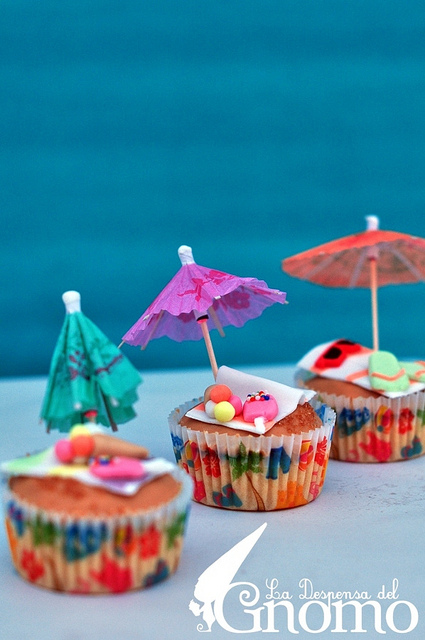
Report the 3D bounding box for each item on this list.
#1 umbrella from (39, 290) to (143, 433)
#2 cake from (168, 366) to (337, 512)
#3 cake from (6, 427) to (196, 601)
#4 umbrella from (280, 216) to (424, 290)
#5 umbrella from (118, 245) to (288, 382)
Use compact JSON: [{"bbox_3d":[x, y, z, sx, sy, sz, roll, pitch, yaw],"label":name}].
[{"bbox_3d":[-0.595,0.244,3.672,0.530,0.688,0.482,22,29,35],"label":"umbrella"},{"bbox_3d":[0.176,0.564,3.642,0.725,0.458,0.695,0,-2,0],"label":"cake"},{"bbox_3d":[-0.391,0.675,2.806,0.678,0.433,0.625,1,5,1],"label":"cake"},{"bbox_3d":[0.937,-0.398,4.588,0.864,0.481,0.961,-3,8,-24],"label":"umbrella"},{"bbox_3d":[0.006,-0.047,4.086,0.907,0.787,0.941,-11,19,-35],"label":"umbrella"}]
